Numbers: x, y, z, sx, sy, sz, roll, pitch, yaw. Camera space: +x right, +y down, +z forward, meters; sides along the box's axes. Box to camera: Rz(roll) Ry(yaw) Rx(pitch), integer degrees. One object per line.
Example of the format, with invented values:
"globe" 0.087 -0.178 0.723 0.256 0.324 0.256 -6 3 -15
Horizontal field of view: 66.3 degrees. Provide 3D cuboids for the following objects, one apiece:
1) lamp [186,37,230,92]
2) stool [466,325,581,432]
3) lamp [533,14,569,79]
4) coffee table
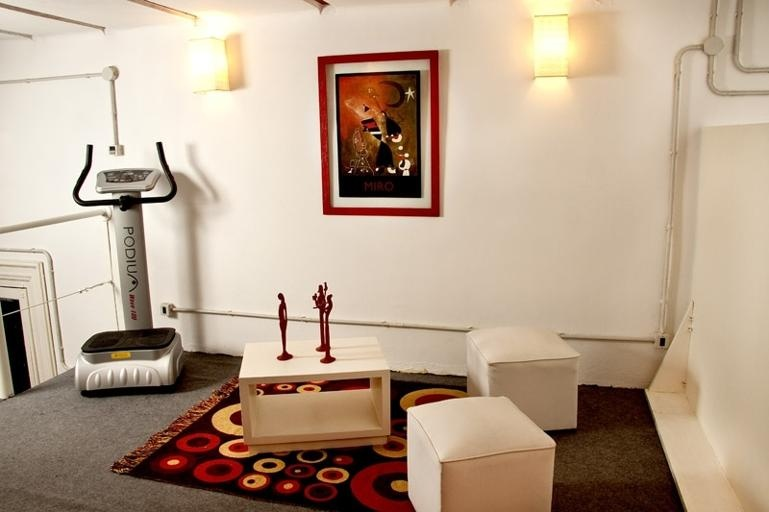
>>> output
"lamp" -1.549 -1.693 5.216 0.316 0.456 0.189 -3 13 -8
"stool" 1.027 0.876 4.638 0.789 0.636 0.750 -2 5 -9
"lamp" 1.341 -1.705 4.765 0.346 0.481 0.317 -3 18 1
"coffee table" -0.538 0.782 4.460 1.158 0.585 0.767 -2 11 -7
